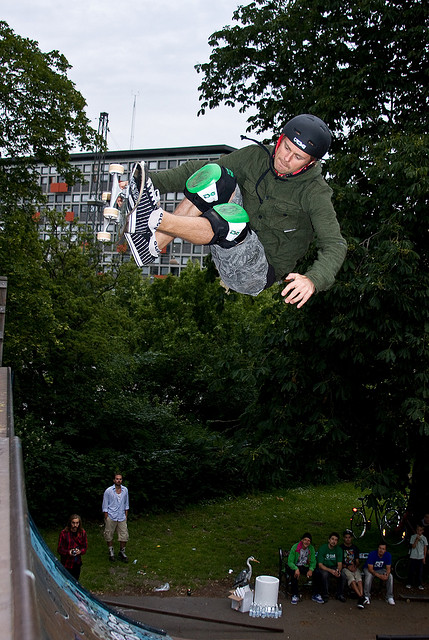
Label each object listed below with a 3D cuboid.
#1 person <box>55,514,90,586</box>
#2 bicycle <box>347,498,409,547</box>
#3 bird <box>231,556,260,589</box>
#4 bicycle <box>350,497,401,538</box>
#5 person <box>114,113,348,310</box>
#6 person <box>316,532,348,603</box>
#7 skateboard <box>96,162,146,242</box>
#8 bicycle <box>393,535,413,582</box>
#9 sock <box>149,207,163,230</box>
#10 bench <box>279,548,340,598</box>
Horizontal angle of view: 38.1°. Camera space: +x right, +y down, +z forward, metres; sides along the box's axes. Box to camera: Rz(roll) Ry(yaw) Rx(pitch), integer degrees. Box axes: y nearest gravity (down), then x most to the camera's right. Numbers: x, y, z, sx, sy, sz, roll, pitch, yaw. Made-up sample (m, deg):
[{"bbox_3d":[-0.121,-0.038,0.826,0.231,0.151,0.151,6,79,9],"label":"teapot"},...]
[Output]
[{"bbox_3d":[-2.165,3.744,9.618,0.510,1.253,0.465,4,-1,-30],"label":"person"},{"bbox_3d":[4.358,5.436,17.087,2.002,1.147,0.964,13,-27,-36],"label":"bicycle"},{"bbox_3d":[0.495,4.479,11.055,0.309,0.470,0.758,3,-1,4],"label":"bird"},{"bbox_3d":[4.128,5.343,17.247,0.972,1.073,1.803,0,-33,-7],"label":"bicycle"},{"bbox_3d":[0.137,-0.757,4.363,1.586,1.089,1.179,3,-1,-18],"label":"person"},{"bbox_3d":[2.150,4.538,11.365,0.586,0.915,0.424,3,-1,10],"label":"person"},{"bbox_3d":[-0.501,-0.768,3.963,0.143,0.475,0.403,7,-1,-35],"label":"skateboard"},{"bbox_3d":[3.762,4.814,12.447,0.336,0.629,0.745,3,-1,16],"label":"bicycle"},{"bbox_3d":[-0.364,-0.634,3.876,0.077,0.120,0.038,2,-23,26],"label":"sock"},{"bbox_3d":[1.785,4.723,11.483,1.079,0.693,0.368,10,-20,-27],"label":"bench"}]
